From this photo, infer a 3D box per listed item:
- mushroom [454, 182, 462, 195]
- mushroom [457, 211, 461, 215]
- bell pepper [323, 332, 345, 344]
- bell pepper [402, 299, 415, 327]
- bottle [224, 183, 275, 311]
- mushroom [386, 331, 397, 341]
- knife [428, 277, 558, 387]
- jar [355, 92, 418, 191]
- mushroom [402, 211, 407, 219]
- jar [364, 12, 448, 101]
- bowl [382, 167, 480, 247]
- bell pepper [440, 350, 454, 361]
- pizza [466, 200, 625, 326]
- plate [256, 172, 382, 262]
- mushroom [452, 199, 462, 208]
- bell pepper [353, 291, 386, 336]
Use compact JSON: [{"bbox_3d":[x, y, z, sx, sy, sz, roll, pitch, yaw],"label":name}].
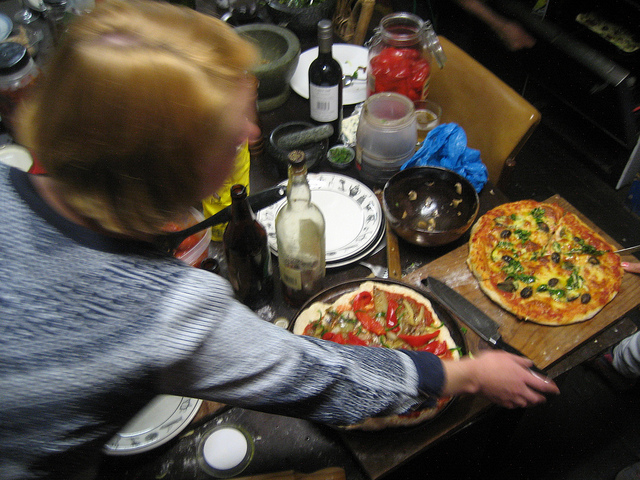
[{"bbox_3d":[0.467,-0.172,1.589,0.019,0.024,0.038,5,56,-2],"label":"mushroom"},{"bbox_3d":[0.459,-0.088,1.556,0.009,0.003,0.013,1,80,12],"label":"mushroom"},{"bbox_3d":[0.036,0.261,1.261,0.050,0.022,0.060,10,18,4],"label":"bell pepper"},{"bbox_3d":[0.262,0.208,1.376,0.020,0.018,0.083,-6,52,2],"label":"bell pepper"},{"bbox_3d":[-0.197,0.031,1.299,0.109,0.384,0.114,0,52,0],"label":"bottle"},{"bbox_3d":[0.205,0.274,1.356,0.020,0.016,0.021,-4,25,-8],"label":"mushroom"},{"bbox_3d":[0.491,0.269,1.355,0.069,0.034,0.460,-30,55,-17],"label":"knife"},{"bbox_3d":[0.236,-0.390,1.694,0.226,0.336,0.226,-1,27,0],"label":"jar"},{"bbox_3d":[0.280,-0.083,1.563,0.014,0.005,0.020,22,65,-21],"label":"mushroom"},{"bbox_3d":[0.339,-0.671,1.859,0.298,0.347,0.243,11,52,15],"label":"jar"},{"bbox_3d":[0.339,-0.078,1.531,0.300,0.147,0.315,-1,42,1],"label":"bowl"},{"bbox_3d":[0.337,0.304,1.255,0.027,0.028,0.029,-12,51,-8],"label":"bell pepper"},{"bbox_3d":[0.782,0.061,1.653,0.523,0.565,0.068,19,48,28],"label":"pizza"},{"bbox_3d":[0.071,-0.103,1.615,0.323,0.046,0.323,-34,63,-22],"label":"plate"},{"bbox_3d":[0.452,-0.118,1.574,0.019,0.011,0.032,23,98,19],"label":"mushroom"},{"bbox_3d":[0.140,0.217,1.376,0.073,0.024,0.123,-11,68,-37],"label":"bell pepper"}]
